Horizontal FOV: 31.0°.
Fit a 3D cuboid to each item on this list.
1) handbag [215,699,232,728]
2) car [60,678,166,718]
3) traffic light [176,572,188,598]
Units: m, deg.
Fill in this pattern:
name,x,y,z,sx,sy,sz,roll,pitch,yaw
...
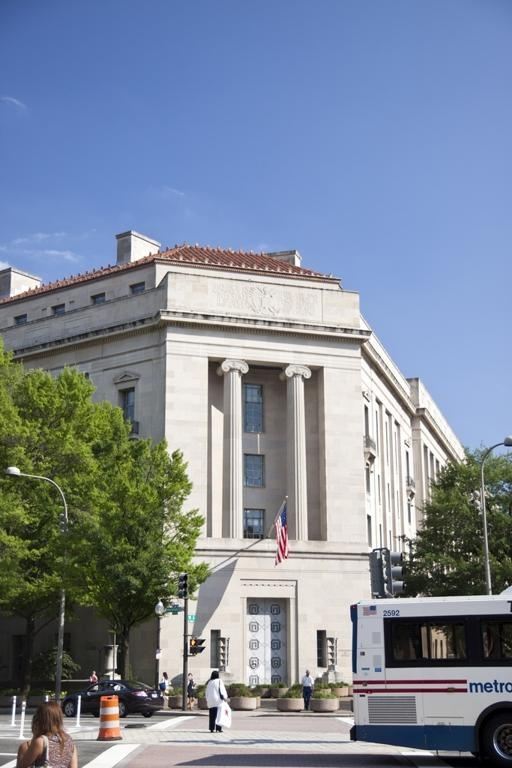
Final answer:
name,x,y,z,sx,sy,sz,roll,pitch,yaw
handbag,-0.724,7.399,20.673,0.246,0.507,0.634,3,-18,-13
car,-4.577,10.495,30.739,2.666,1.150,1.256,-8,-19,21
traffic light,-2.813,7.715,35.359,0.269,1.024,1.197,2,-18,-12
